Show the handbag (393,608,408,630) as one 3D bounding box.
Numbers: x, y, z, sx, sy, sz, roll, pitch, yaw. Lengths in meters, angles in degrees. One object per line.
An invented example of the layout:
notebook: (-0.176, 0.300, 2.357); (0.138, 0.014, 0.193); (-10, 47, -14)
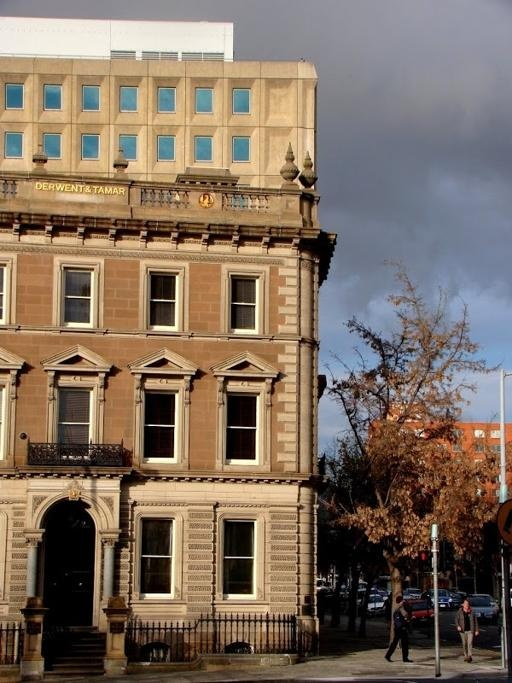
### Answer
handbag: (4.042, 7.831, 46.424); (0.347, 0.708, 0.707); (-3, 2, -3)
